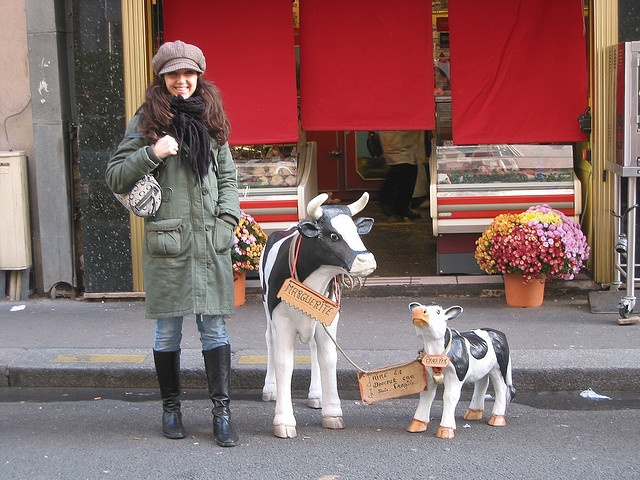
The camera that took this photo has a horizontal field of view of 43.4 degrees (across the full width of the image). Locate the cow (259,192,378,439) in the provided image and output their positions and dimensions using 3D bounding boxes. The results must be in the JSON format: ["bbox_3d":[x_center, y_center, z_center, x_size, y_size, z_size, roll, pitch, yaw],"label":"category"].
[{"bbox_3d":[-0.074,0.559,6.133,0.614,1.855,1.306,-6,7,-35],"label":"cow"}]

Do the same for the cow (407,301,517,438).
[{"bbox_3d":[1.056,0.960,6.143,0.865,1.021,0.354,-5,6,-28],"label":"cow"}]

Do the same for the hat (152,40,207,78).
[{"bbox_3d":[-1.042,-1.342,5.908,0.247,0.150,0.327,-3,-2,-8],"label":"hat"}]

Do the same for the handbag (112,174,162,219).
[{"bbox_3d":[-1.361,-0.340,6.027,0.182,0.246,0.138,-42,10,26],"label":"handbag"}]

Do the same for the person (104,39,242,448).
[{"bbox_3d":[-1.039,0.031,6.032,0.884,3.016,0.499,-3,6,-7],"label":"person"}]

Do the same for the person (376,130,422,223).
[{"bbox_3d":[1.317,-1.018,12.804,0.697,1.428,0.673,-2,6,5],"label":"person"}]

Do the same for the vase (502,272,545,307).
[{"bbox_3d":[2.148,0.539,8.458,0.367,0.272,0.366,3,-6,-16],"label":"vase"}]

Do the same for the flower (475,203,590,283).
[{"bbox_3d":[2.201,0.019,8.398,0.875,0.601,0.804,3,7,43],"label":"flower"}]

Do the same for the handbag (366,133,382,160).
[{"bbox_3d":[0.906,-1.683,14.352,0.283,0.388,0.359,-8,5,-7],"label":"handbag"}]
